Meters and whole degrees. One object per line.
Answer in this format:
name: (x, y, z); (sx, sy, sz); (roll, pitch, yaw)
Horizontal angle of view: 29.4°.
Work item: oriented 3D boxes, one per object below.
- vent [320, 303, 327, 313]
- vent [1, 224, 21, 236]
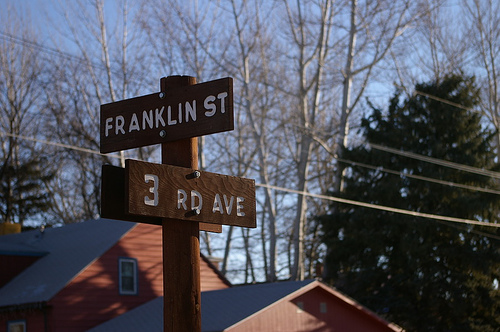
vent: (3.730, 7.284, 48.849); (0.421, 0.652, 0.062); (6, -20, -18)
vent: (-14.065, 3.703, 55.754); (0.355, 0.561, 1.322); (0, -3, 37)
